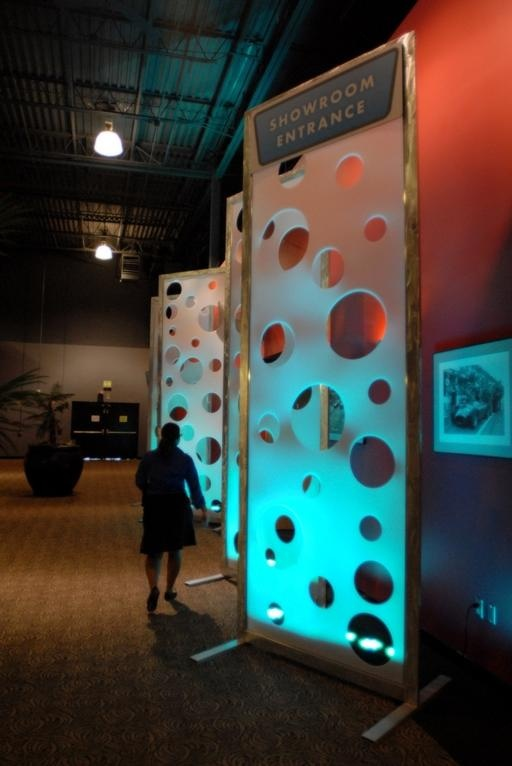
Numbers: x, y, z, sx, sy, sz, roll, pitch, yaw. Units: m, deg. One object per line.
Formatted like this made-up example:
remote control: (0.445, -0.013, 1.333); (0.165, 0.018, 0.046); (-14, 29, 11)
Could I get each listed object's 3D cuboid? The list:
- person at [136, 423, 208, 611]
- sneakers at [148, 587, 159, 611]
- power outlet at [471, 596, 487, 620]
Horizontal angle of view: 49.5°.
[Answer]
person: (-0.551, 0.829, 3.567); (0.446, 1.138, 0.459); (2, -4, -4)
sneakers: (-0.619, 1.290, 3.345); (0.054, 0.162, 0.064); (7, -6, -8)
power outlet: (1.063, 1.082, 2.656); (0.018, 0.080, 0.053); (6, 8, -22)
